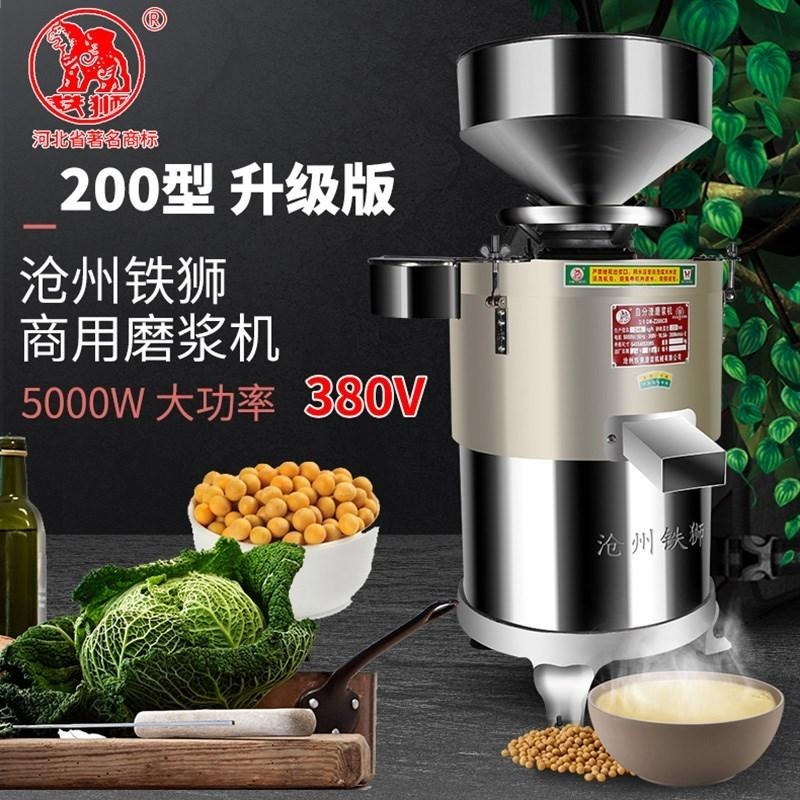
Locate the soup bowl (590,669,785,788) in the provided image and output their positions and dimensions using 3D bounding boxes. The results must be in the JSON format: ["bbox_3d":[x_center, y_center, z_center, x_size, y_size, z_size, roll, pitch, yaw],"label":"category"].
[{"bbox_3d":[0.252,0.290,0.797,0.164,0.056,0.152,-4,1,0],"label":"soup bowl"}]

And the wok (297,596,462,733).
[{"bbox_3d":[-0.039,0.239,0.893,0.208,0.091,0.074,-16,27,-37],"label":"wok"}]

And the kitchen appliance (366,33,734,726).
[{"bbox_3d":[0.161,-0.015,0.972,0.372,0.691,0.279,1,5,19],"label":"kitchen appliance"}]
